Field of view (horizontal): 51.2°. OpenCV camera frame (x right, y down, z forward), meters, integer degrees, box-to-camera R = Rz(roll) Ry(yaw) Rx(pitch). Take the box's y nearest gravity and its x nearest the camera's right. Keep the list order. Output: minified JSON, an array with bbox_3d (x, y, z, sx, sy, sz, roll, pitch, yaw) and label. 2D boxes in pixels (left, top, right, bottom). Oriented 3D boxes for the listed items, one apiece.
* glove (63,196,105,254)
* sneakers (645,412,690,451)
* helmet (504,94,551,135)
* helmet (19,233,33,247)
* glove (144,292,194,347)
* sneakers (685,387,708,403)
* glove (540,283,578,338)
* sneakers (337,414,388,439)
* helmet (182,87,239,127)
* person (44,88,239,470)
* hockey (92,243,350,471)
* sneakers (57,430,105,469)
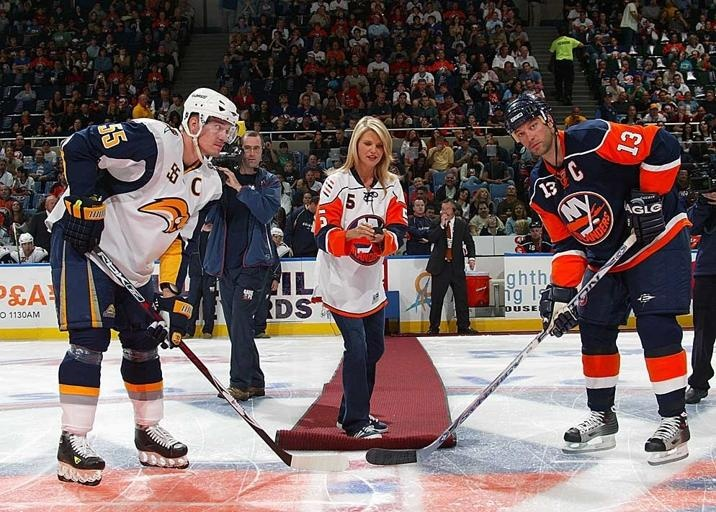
[{"bbox_3d":[-1.582,-0.194,4.340,0.218,0.310,0.117,-4,4,-27],"label":"glove"},{"bbox_3d":[1.867,1.074,4.537,0.293,0.215,0.109,-4,4,-28],"label":"sneakers"},{"bbox_3d":[1.068,-0.907,4.695,0.294,0.266,0.206,-2,4,8],"label":"helmet"},{"bbox_3d":[-4.720,-0.242,10.656,0.167,0.157,0.155,-4,4,-26],"label":"helmet"},{"bbox_3d":[-1.174,0.384,4.599,0.294,0.296,0.127,-40,35,-26],"label":"glove"},{"bbox_3d":[2.635,1.070,5.765,0.299,0.113,0.125,3,-5,-44],"label":"sneakers"},{"bbox_3d":[1.260,0.352,4.788,0.318,0.294,0.145,-6,2,-22],"label":"glove"},{"bbox_3d":[0.020,1.163,5.042,0.127,0.153,0.368,8,-14,-41],"label":"sneakers"},{"bbox_3d":[-0.918,-0.942,4.658,0.309,0.222,0.225,22,14,2],"label":"helmet"},{"bbox_3d":[-1.331,0.150,4.567,1.078,2.333,0.396,-4,4,-23],"label":"person"},{"bbox_3d":[-1.071,0.801,5.802,1.980,0.206,0.383,39,1,15],"label":"hockey"},{"bbox_3d":[-1.608,1.136,4.374,0.264,0.224,0.140,-1,4,28],"label":"sneakers"}]
